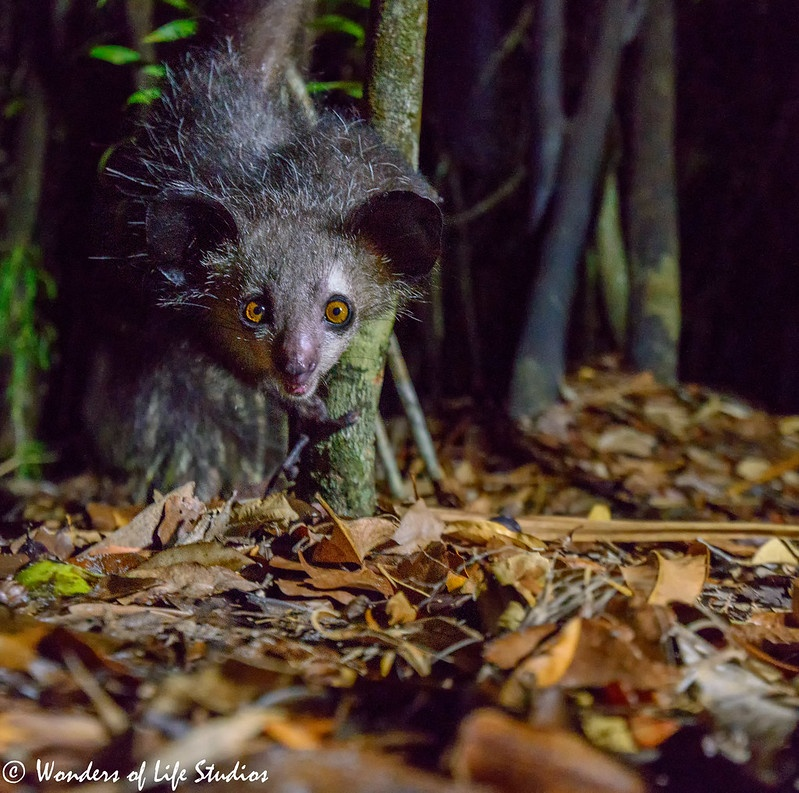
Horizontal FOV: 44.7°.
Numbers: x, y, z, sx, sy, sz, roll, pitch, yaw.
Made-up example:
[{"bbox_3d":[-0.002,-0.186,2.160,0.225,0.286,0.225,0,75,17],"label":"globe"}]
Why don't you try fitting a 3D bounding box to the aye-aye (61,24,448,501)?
[{"bbox_3d":[-0.391,-0.328,2.900,0.765,1.586,0.907,4,-8,-13],"label":"aye-aye"}]
